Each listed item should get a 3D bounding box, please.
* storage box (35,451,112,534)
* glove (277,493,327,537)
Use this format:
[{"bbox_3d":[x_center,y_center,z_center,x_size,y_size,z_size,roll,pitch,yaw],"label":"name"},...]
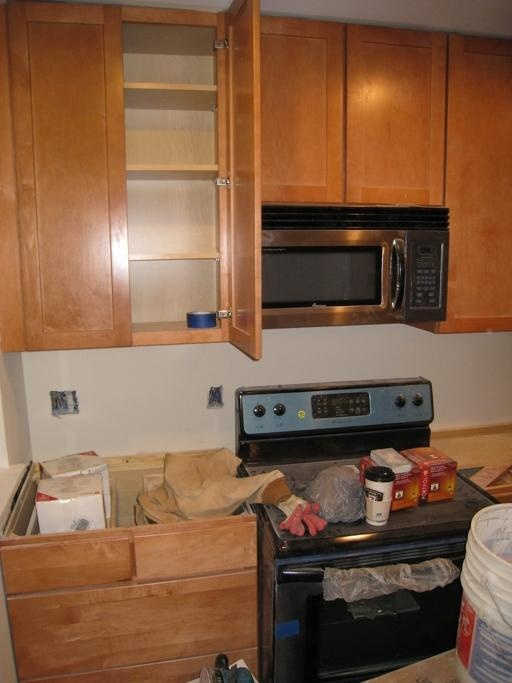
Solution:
[{"bbox_3d":[-0.500,0.339,1.552,0.159,0.199,0.289,-1,2,-15],"label":"storage box"},{"bbox_3d":[0.119,0.451,1.476,0.123,0.049,0.148,-1,10,1],"label":"glove"}]
